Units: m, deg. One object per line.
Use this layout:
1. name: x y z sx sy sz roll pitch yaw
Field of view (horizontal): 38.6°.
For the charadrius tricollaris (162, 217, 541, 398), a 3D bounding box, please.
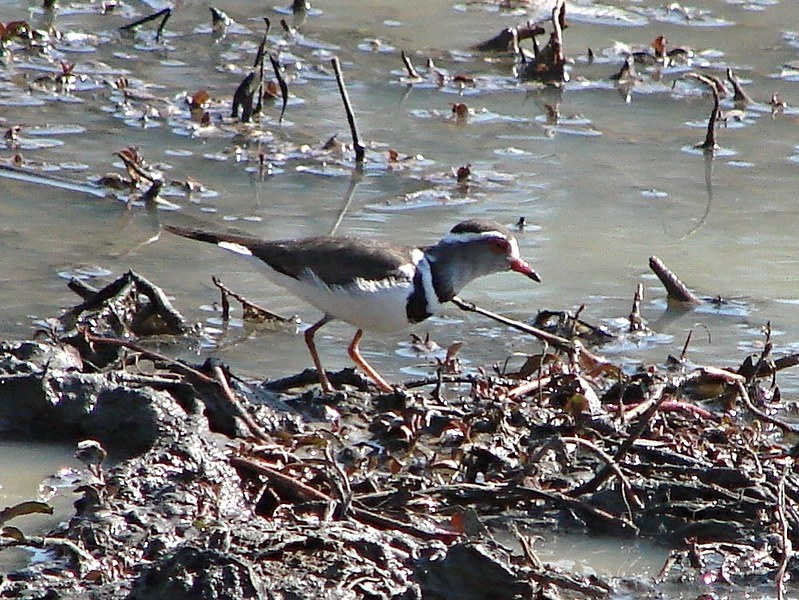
1. charadrius tricollaris: -0.294 -0.132 6.091 2.090 0.630 0.463 10 21 20
